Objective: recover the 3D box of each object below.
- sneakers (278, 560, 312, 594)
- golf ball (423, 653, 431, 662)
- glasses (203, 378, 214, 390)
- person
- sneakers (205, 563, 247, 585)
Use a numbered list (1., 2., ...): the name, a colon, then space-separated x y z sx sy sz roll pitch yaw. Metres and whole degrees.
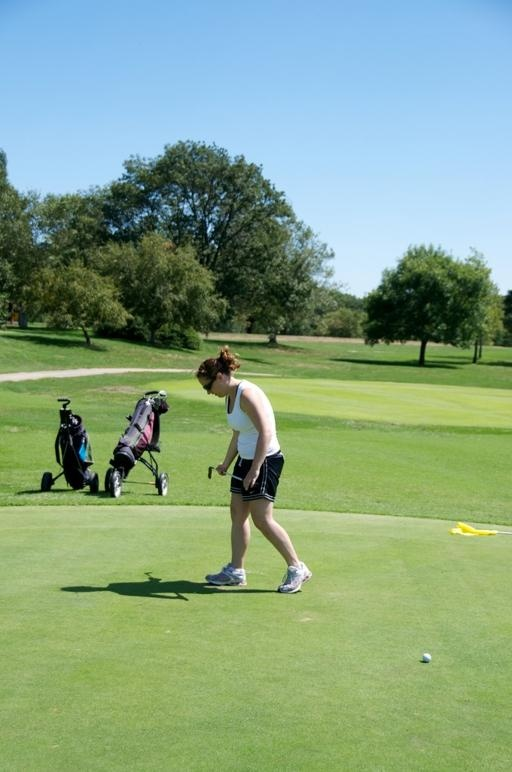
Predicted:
1. sneakers: 0.229 1.117 4.859 0.097 0.116 0.253 -20 12 37
2. golf ball: 0.753 1.202 3.664 0.028 0.030 0.031 0 -30 3
3. glasses: -0.287 -0.016 4.992 0.024 0.063 0.049 30 -32 -14
4. person: -0.018 0.484 4.979 0.754 1.417 0.549 3 4 4
5. sneakers: -0.173 1.130 4.943 0.261 0.114 0.096 1 0 -8
